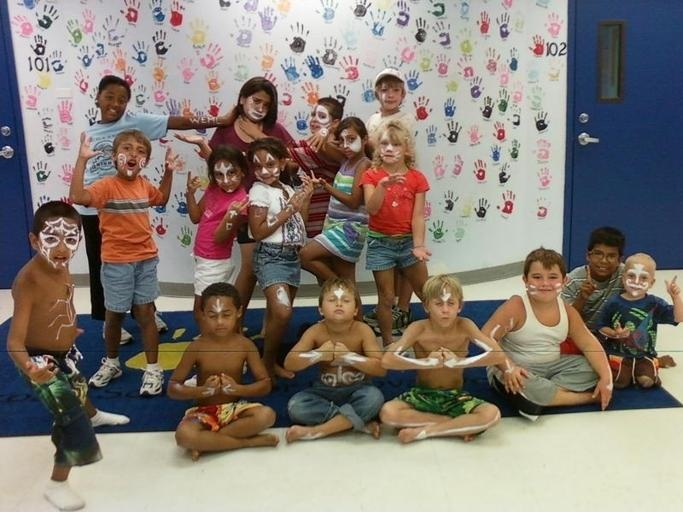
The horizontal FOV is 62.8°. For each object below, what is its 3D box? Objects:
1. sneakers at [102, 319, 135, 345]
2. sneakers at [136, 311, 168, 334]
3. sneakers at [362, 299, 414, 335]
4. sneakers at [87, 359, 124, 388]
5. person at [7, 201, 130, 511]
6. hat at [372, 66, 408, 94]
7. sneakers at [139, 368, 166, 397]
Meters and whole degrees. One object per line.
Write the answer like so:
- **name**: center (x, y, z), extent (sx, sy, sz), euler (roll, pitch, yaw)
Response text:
- **sneakers**: center (-1.022, 0.353, 2.590), extent (0.139, 0.062, 0.053), euler (11, 14, 35)
- **sneakers**: center (-0.857, 0.299, 2.551), extent (0.123, 0.086, 0.042), euler (15, 28, 42)
- **sneakers**: center (0.219, 0.281, 2.565), extent (0.250, 0.112, 0.100), euler (2, 32, -7)
- **sneakers**: center (-1.042, 0.519, 2.505), extent (0.070, 0.083, 0.170), euler (9, 8, 10)
- **person**: center (-1.091, 0.337, 2.161), extent (0.322, 1.089, 0.497), euler (-1, 11, 2)
- **hat**: center (0.175, -0.655, 2.053), extent (0.130, 0.076, 0.045), euler (6, 13, 32)
- **sneakers**: center (-0.860, 0.575, 2.535), extent (0.064, 0.064, 0.142), euler (0, 8, -7)
